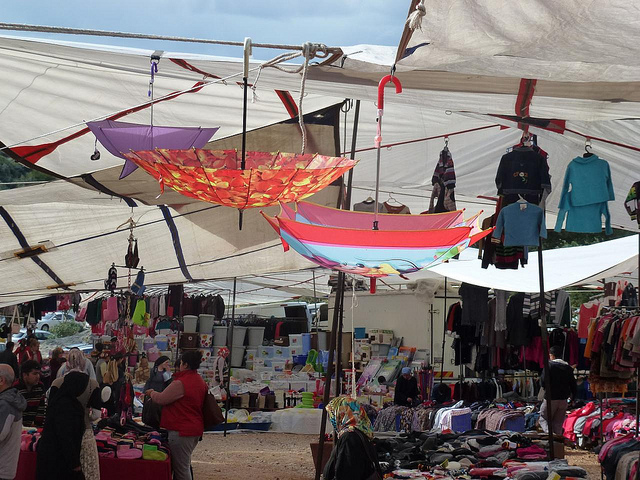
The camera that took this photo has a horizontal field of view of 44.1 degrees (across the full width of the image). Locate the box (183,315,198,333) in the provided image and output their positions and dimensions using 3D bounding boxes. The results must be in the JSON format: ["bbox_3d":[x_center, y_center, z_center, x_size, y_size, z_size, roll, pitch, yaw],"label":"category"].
[{"bbox_3d":[-3.372,2.175,20.461,0.446,0.382,0.414,0,-5,1],"label":"box"}]

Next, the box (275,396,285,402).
[{"bbox_3d":[-0.967,3.720,18.516,0.226,0.134,0.124,-1,-7,17],"label":"box"}]

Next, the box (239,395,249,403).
[{"bbox_3d":[-1.797,3.726,18.565,0.218,0.168,0.102,0,-2,1],"label":"box"}]

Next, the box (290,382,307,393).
[{"bbox_3d":[-0.524,3.431,18.438,0.428,0.227,0.147,-1,-2,8],"label":"box"}]

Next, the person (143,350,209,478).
[{"bbox_3d":[-1.667,2.085,9.393,0.675,1.499,0.344,0,-2,-14],"label":"person"}]

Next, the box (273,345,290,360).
[{"bbox_3d":[-1.015,2.900,20.315,0.368,0.225,0.335,2,-9,-6],"label":"box"}]

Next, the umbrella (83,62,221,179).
[{"bbox_3d":[-2.134,-1.391,9.657,1.331,1.032,1.375,3,0,43],"label":"umbrella"}]

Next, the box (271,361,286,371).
[{"bbox_3d":[-1.069,3.202,20.067,0.363,0.233,0.185,-1,-2,8],"label":"box"}]

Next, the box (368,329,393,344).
[{"bbox_3d":[1.319,2.118,17.362,0.356,0.265,0.470,-1,-4,6],"label":"box"}]

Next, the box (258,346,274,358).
[{"bbox_3d":[-1.439,2.930,20.692,0.336,0.172,0.310,1,-1,-28],"label":"box"}]

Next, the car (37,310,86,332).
[{"bbox_3d":[-12.881,4.027,39.148,1.795,1.100,4.872,0,-3,-15],"label":"car"}]

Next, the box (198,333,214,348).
[{"bbox_3d":[-2.969,2.607,20.499,0.387,0.251,0.360,-1,-7,7],"label":"box"}]

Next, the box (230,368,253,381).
[{"bbox_3d":[-2.021,3.403,20.124,0.291,0.140,0.441,5,-4,-35],"label":"box"}]

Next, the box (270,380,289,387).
[{"bbox_3d":[-0.979,3.382,18.626,0.202,0.108,0.266,1,-4,-20],"label":"box"}]

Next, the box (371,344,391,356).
[{"bbox_3d":[1.313,2.392,17.327,0.292,0.229,0.359,-4,-8,39],"label":"box"}]

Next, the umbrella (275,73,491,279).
[{"bbox_3d":[0.623,-0.675,8.556,2.503,2.043,2.024,4,-2,-3],"label":"umbrella"}]

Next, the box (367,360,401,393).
[{"bbox_3d":[1.322,2.798,16.368,0.502,0.612,0.599,-2,-3,43],"label":"box"}]

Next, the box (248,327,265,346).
[{"bbox_3d":[-1.795,2.642,21.754,0.506,0.415,0.487,4,-9,-27],"label":"box"}]

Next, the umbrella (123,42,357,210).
[{"bbox_3d":[-0.866,-1.278,8.959,3.130,1.755,2.839,7,3,6],"label":"umbrella"}]

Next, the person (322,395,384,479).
[{"bbox_3d":[0.302,1.957,7.805,0.563,0.746,0.543,0,-2,-6],"label":"person"}]

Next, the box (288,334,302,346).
[{"bbox_3d":[-0.631,2.546,19.984,0.316,0.162,0.294,-1,-5,14],"label":"box"}]
